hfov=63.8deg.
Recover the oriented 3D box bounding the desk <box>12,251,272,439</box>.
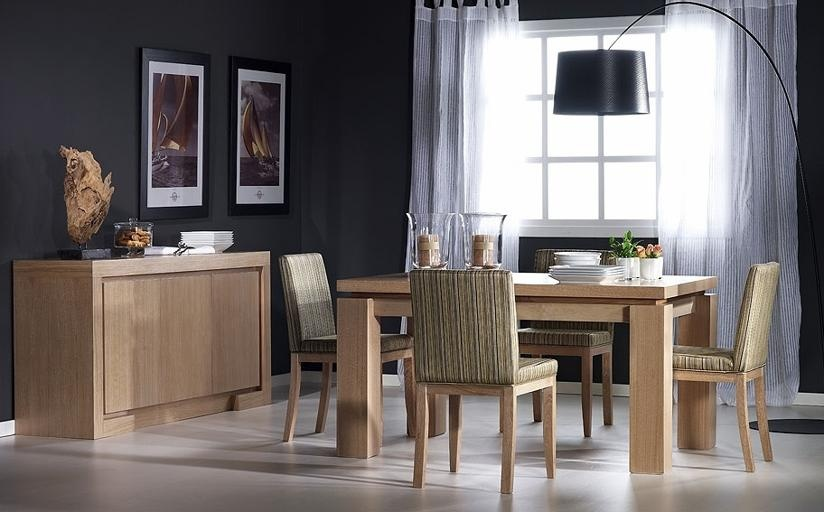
[{"bbox_3d":[-2.033,0.653,5.272,0.736,1.222,1.890,-2,-2,25],"label":"desk"}]

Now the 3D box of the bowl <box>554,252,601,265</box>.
[{"bbox_3d":[1.011,0.018,4.055,0.261,0.074,0.351,0,1,13],"label":"bowl"}]

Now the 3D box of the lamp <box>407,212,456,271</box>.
[{"bbox_3d":[0.124,-0.083,4.256,0.315,0.363,0.278,1,-4,1],"label":"lamp"}]

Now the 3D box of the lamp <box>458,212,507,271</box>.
[{"bbox_3d":[0.452,-0.086,4.150,0.352,0.387,0.313,1,0,19],"label":"lamp"}]

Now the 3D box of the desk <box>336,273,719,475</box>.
[{"bbox_3d":[0.976,0.527,4.111,1.840,0.977,1.285,-1,-4,25],"label":"desk"}]

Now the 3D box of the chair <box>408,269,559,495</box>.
[{"bbox_3d":[0.388,0.651,3.584,0.765,1.167,0.395,0,2,8],"label":"chair"}]

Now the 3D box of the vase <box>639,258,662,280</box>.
[{"bbox_3d":[1.472,0.082,4.125,0.142,0.107,0.125,0,0,-15],"label":"vase"}]

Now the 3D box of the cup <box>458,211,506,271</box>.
[{"bbox_3d":[0.432,-0.092,4.075,0.265,0.336,0.206,0,2,4],"label":"cup"}]

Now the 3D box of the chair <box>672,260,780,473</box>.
[{"bbox_3d":[1.829,0.644,4.031,0.649,0.994,0.692,4,-6,-42],"label":"chair"}]

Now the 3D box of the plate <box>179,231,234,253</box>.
[{"bbox_3d":[-1.620,-0.121,5.266,0.224,0.121,0.260,0,2,23],"label":"plate"}]

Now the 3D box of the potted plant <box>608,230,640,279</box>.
[{"bbox_3d":[1.298,-0.012,4.151,0.199,0.238,0.155,-11,9,-27],"label":"potted plant"}]
